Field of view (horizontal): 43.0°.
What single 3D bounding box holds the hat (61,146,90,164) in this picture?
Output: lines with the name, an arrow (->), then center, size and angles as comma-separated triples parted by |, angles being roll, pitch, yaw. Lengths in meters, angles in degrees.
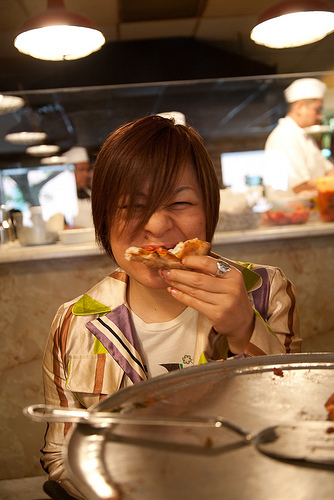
hat -> -1.101, -1.118, 5.147 | 0.286, 0.240, 0.730 | -5, 4, -15

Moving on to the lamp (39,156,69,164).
lamp -> -1.447, -1.166, 5.511 | 0.192, 0.057, 0.186 | -6, 4, -38

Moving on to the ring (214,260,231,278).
ring -> 0.112, 0.040, 0.850 | 0.026, 0.036, 0.011 | 38, -13, 14

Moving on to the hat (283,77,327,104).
hat -> 0.926, -1.081, 2.867 | 0.289, 0.177, 0.190 | -2, 4, 20

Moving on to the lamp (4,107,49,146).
lamp -> -1.321, -1.107, 3.972 | 0.380, 0.334, 0.359 | -2, -10, 2

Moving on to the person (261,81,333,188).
person -> 0.829, -0.793, 3.227 | 0.719, 0.887, 0.638 | -1, 7, 4

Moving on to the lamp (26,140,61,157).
lamp -> -1.446, -1.189, 4.936 | 0.320, 0.092, 0.301 | -2, -2, -7

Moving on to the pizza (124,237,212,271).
pizza -> 0.000, 0.004, 0.911 | 0.187, 0.065, 0.177 | -11, -1, 0
